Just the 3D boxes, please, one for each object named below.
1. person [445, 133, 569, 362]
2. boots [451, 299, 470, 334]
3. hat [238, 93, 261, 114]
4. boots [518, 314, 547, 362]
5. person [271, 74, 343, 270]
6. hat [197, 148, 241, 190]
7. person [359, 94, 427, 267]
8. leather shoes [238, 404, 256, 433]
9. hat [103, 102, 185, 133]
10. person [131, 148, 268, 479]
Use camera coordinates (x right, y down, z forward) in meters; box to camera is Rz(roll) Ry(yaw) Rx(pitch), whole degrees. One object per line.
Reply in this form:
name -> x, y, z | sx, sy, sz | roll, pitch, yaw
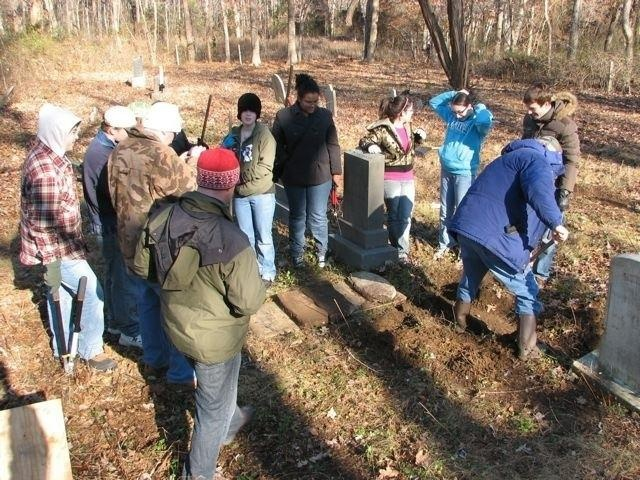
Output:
person -> 1.966, 0.140, 5.742 | 1.259, 2.436, 1.134 | -13, 29, -8
boots -> 1.499, 0.805, 5.864 | 0.134, 0.331, 0.317 | -4, 12, 12
hat -> -0.786, -1.507, 6.198 | 0.195, 0.212, 0.226 | 8, 8, -10
boots -> 2.128, 0.999, 5.531 | 0.291, 0.476, 0.210 | -16, 26, -13
person -> -0.154, -0.749, 6.718 | 0.817, 2.320, 0.314 | -2, 17, -6
hat -> -0.712, -0.586, 4.288 | 0.304, 0.282, 0.475 | 2, 21, 13
person -> 0.950, -0.785, 7.158 | 0.839, 2.062, 0.564 | -1, 18, 0
leather shoes -> -0.654, 1.607, 5.004 | 0.099, 0.189, 0.167 | 12, 17, 35
hat -> -1.595, -1.098, 5.018 | 0.608, 0.265, 0.452 | -4, 27, -13
person -> -0.878, 0.671, 4.336 | 0.886, 2.675, 0.631 | -4, 18, -12
